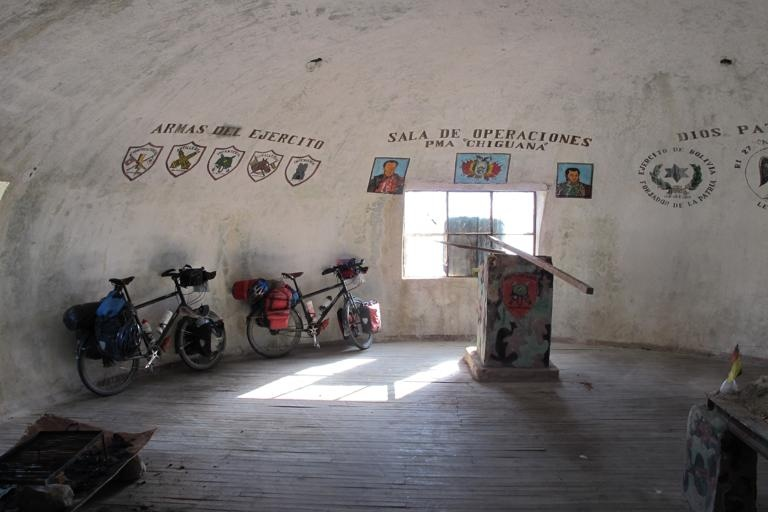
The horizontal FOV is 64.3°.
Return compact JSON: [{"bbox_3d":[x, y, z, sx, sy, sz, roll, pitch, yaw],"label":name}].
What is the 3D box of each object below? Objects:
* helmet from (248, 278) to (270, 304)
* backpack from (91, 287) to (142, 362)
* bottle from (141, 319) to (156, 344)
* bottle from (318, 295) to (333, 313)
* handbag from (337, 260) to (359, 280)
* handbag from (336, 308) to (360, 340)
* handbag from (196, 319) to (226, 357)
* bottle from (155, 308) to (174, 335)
[{"bbox_3d":[-1.785,0.503,8.698,0.127,0.353,0.213,0,32,-44],"label":"helmet"},{"bbox_3d":[-3.226,0.824,7.405,0.232,0.890,0.491,1,2,32],"label":"backpack"},{"bbox_3d":[-3.038,0.976,7.857,0.142,0.280,0.233,-1,2,-38],"label":"bottle"},{"bbox_3d":[-0.855,0.719,9.201,0.156,0.202,0.287,-1,8,20],"label":"bottle"},{"bbox_3d":[-0.528,0.181,9.209,0.238,0.310,0.303,14,-19,29],"label":"handbag"},{"bbox_3d":[-0.584,1.068,9.166,0.202,0.519,0.269,5,21,45],"label":"handbag"},{"bbox_3d":[-2.352,1.104,8.312,0.140,0.436,0.436,-3,-2,38],"label":"handbag"},{"bbox_3d":[-2.882,0.865,8.072,0.107,0.324,0.179,1,-31,42],"label":"bottle"}]
